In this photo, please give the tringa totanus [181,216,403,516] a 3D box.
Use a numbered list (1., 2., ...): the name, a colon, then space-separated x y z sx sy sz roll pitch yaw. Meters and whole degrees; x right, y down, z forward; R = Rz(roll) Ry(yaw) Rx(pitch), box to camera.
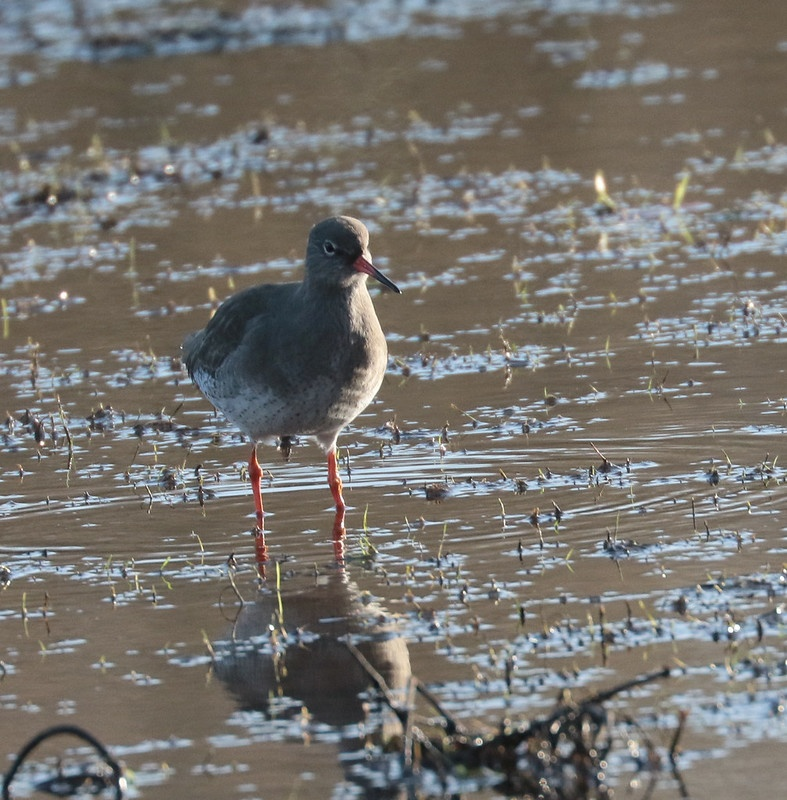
1. tringa totanus: -0.520 -0.148 7.222 1.022 1.653 1.249 -7 -11 29
